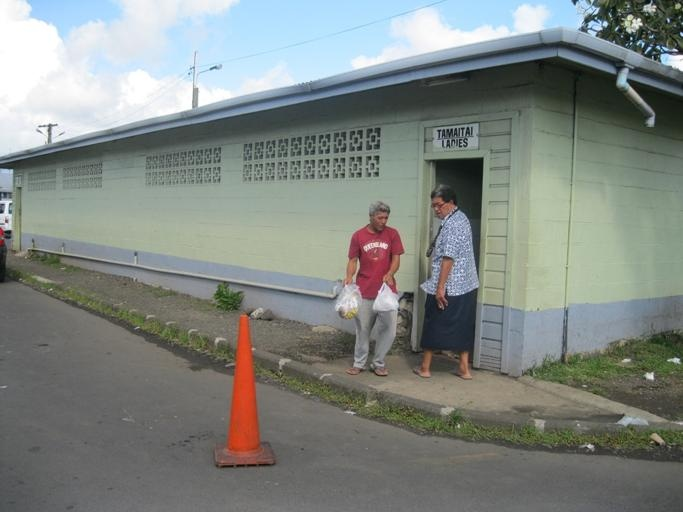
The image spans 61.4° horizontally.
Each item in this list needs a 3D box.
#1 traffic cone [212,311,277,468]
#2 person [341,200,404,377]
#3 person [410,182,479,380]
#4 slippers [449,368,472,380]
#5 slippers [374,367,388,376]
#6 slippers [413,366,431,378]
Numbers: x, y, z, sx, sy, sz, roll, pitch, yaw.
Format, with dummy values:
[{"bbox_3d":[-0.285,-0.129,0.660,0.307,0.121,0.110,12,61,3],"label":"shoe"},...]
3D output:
[{"bbox_3d":[-0.965,1.283,5.614,0.577,1.331,0.623,-2,7,-14],"label":"traffic cone"},{"bbox_3d":[0.435,0.431,7.846,0.775,2.325,0.728,0,7,2],"label":"person"},{"bbox_3d":[1.406,0.363,7.580,0.759,2.537,0.486,1,7,13],"label":"person"},{"bbox_3d":[1.623,1.597,7.785,0.086,0.114,0.262,-2,-2,-30],"label":"slippers"},{"bbox_3d":[0.533,1.533,7.751,0.188,0.112,0.257,0,7,2],"label":"slippers"},{"bbox_3d":[1.088,1.554,7.759,0.088,0.103,0.241,-4,14,-24],"label":"slippers"}]
